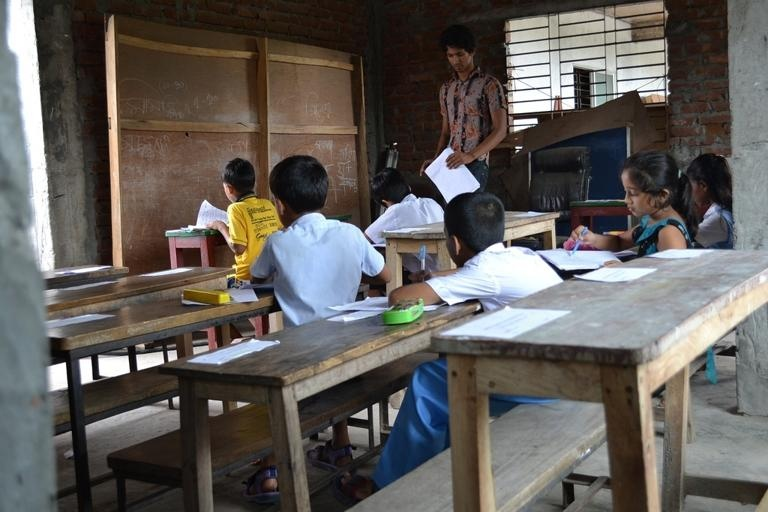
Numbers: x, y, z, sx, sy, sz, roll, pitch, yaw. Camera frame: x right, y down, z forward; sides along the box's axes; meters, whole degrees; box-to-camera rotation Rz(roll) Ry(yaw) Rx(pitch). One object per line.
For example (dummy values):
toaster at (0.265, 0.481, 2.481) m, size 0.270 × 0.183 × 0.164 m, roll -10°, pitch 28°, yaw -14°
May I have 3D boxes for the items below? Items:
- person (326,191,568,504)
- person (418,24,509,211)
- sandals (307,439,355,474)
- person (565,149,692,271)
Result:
person at (0.228, 0.322, 2.116) m, size 0.624 × 1.036 × 0.756 m, roll 2°, pitch 10°, yaw 37°
person at (0.504, -0.940, 4.029) m, size 0.566 × 1.030 × 0.804 m, roll -2°, pitch 8°, yaw 10°
sandals at (-0.212, 0.802, 2.538) m, size 0.199 × 0.090 × 0.100 m, roll 6°, pitch 6°, yaw 42°
person at (1.185, -0.243, 3.087) m, size 0.570 × 0.736 × 0.544 m, roll 0°, pitch 10°, yaw 29°
